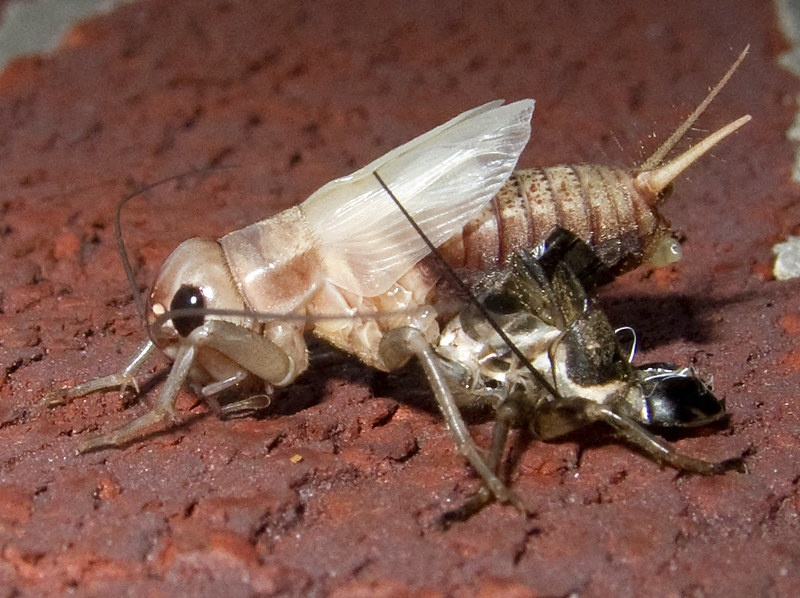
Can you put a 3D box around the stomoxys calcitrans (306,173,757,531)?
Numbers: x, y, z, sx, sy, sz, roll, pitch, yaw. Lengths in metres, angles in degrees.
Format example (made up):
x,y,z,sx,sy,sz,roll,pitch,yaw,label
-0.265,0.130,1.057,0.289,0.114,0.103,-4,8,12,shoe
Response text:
x,y,z,sx,sy,sz,roll,pitch,yaw,label
-0.048,-0.057,5.913,3.023,3.439,1.168,-8,84,10,stomoxys calcitrans

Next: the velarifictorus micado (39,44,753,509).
x,y,z,sx,sy,sz,roll,pitch,yaw,label
0.025,0.078,5.501,2.978,1.252,2.151,-8,45,-2,velarifictorus micado
